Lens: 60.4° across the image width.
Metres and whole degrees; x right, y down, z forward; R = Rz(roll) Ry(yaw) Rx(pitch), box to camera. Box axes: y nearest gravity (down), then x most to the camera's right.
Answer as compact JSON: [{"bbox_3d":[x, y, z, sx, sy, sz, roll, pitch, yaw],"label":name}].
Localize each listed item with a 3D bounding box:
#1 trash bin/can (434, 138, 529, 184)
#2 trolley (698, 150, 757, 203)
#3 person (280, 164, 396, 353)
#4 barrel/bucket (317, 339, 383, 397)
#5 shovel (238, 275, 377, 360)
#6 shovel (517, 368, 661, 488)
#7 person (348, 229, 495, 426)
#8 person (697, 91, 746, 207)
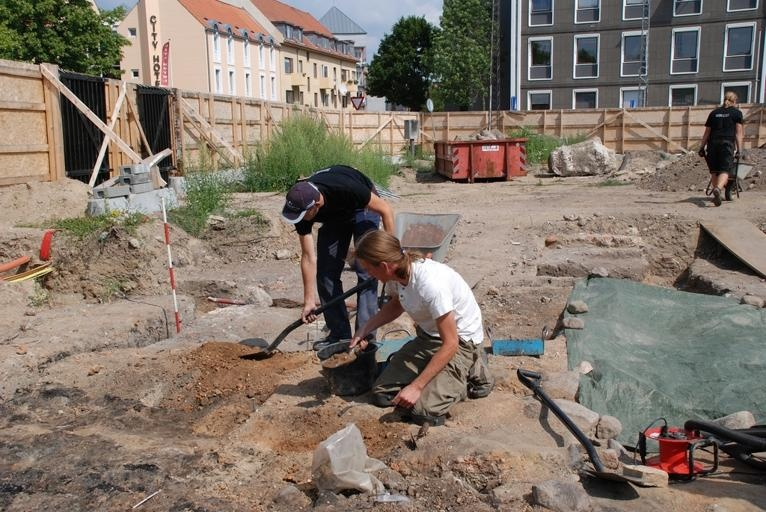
[{"bbox_3d":[3.150,-3.149,21.324,2.669,1.282,3.364,-4,11,-9],"label":"trash bin/can"},{"bbox_3d":[7.521,-1.718,14.625,1.038,1.312,2.068,3,20,36],"label":"trolley"},{"bbox_3d":[-0.540,0.110,7.317,1.116,2.189,1.541,11,23,35],"label":"person"},{"bbox_3d":[-0.355,1.141,6.586,0.619,0.598,0.505,0,-1,2],"label":"barrel/bucket"},{"bbox_3d":[-0.906,0.770,7.818,1.272,0.180,0.213,-37,37,-21],"label":"shovel"},{"bbox_3d":[1.791,1.601,6.096,0.445,0.271,1.444,7,24,-22],"label":"shovel"},{"bbox_3d":[0.415,0.646,6.296,1.397,1.724,1.148,-7,14,-14],"label":"person"},{"bbox_3d":[6.824,-2.224,13.266,0.722,2.230,0.825,-4,12,-21],"label":"person"}]
